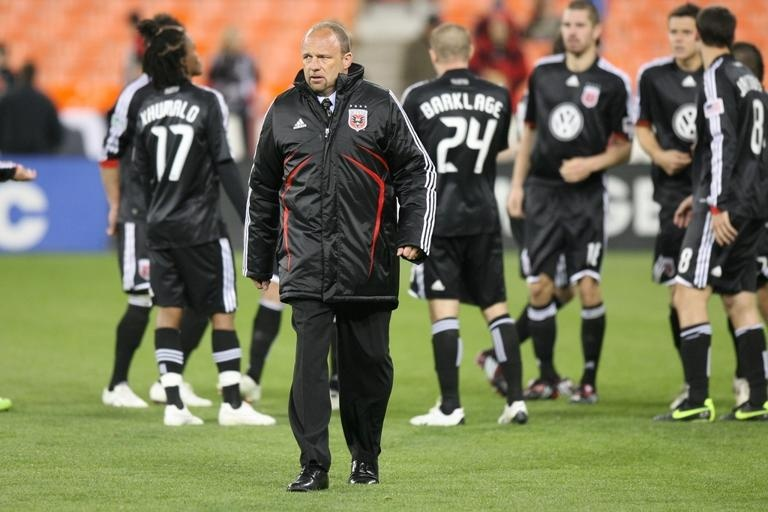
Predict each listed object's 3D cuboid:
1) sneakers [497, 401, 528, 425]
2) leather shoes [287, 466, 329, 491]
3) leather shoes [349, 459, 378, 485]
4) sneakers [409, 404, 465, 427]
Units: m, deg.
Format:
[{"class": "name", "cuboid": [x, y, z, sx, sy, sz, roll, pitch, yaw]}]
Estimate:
[{"class": "sneakers", "cuboid": [1.003, 1.231, 8.205, 0.115, 0.142, 0.285, 0, -4, -19]}, {"class": "leather shoes", "cuboid": [-0.480, 1.446, 6.756, 0.110, 0.134, 0.287, -6, -11, 42]}, {"class": "leather shoes", "cuboid": [-0.129, 1.433, 6.931, 0.199, 0.161, 0.103, 2, -7, -1]}, {"class": "sneakers", "cuboid": [0.429, 1.263, 8.291, 0.458, 0.211, 0.168, -1, -11, 4]}]
